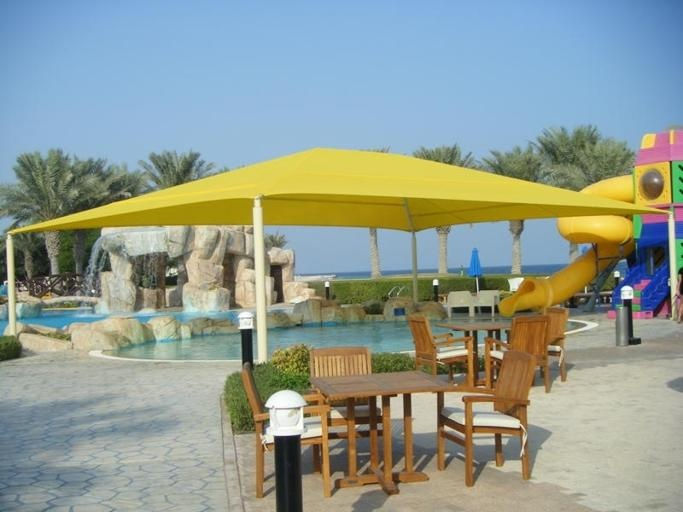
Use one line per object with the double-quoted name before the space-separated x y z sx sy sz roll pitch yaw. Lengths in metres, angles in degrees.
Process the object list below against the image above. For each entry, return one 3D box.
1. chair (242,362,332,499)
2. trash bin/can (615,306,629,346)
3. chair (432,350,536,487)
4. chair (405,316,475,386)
"chair" -0.558 1.760 7.017 0.911 1.281 1.226 -1 -3 -2
"trash bin/can" 5.863 1.426 14.082 0.275 0.849 0.247 -1 -3 13
"chair" 1.492 1.691 7.208 1.097 1.296 1.105 3 -4 -41
"chair" 1.624 1.443 10.886 1.037 1.524 1.106 -1 2 -17
